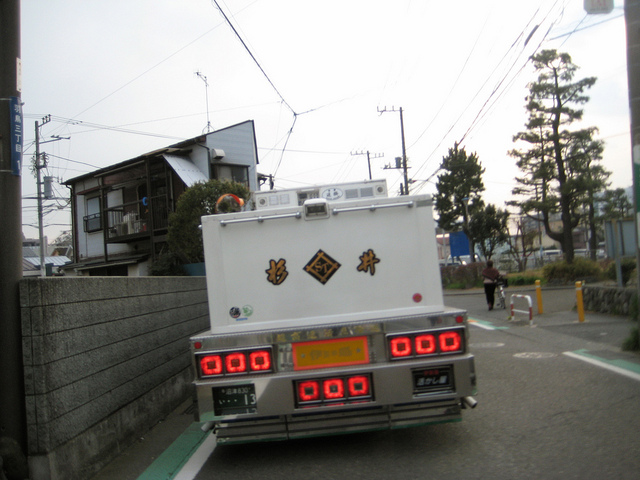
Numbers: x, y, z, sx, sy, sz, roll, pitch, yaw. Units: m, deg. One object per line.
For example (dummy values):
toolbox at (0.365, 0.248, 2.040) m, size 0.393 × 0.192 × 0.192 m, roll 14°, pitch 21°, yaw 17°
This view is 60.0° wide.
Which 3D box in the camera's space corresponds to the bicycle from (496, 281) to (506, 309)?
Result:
bicycle at (5.909, 1.807, 18.023) m, size 0.208 × 0.935 × 0.669 m, roll -4°, pitch 0°, yaw 17°

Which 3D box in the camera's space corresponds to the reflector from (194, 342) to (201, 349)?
reflector at (-1.370, 1.176, 6.205) m, size 0.058 × 0.068 × 0.015 m, roll 1°, pitch -2°, yaw -3°

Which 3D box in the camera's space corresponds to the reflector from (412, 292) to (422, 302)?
reflector at (1.135, 0.666, 6.454) m, size 0.111 × 0.111 × 0.023 m, roll -4°, pitch 0°, yaw -12°

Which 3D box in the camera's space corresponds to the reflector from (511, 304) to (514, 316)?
reflector at (5.115, 1.862, 14.739) m, size 0.051 × 0.322 × 0.221 m, roll -4°, pitch 0°, yaw 12°

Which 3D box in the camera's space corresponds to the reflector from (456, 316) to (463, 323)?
reflector at (1.563, 0.890, 6.200) m, size 0.058 × 0.068 × 0.015 m, roll 0°, pitch -10°, yaw 14°

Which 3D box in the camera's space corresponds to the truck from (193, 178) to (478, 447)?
truck at (0.129, -0.597, 8.864) m, size 3.366 × 3.401 × 6.282 m, roll -4°, pitch 26°, yaw 5°
